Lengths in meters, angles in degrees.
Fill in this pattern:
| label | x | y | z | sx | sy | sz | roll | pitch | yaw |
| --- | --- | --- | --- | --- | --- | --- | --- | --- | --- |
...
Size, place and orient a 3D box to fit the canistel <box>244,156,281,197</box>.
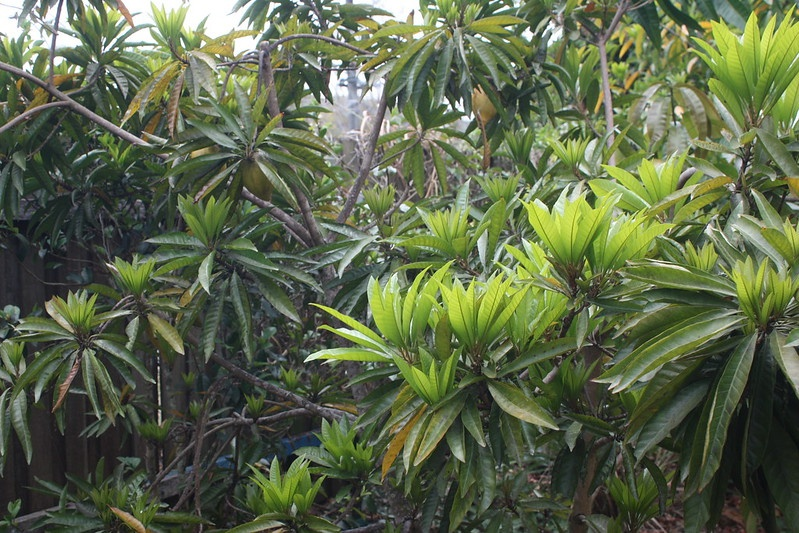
| label | x | y | z | sx | sy | sz | roll | pitch | yaw |
| --- | --- | --- | --- | --- | --- | --- | --- | --- | --- |
| canistel | -0.688 | -0.430 | 6.184 | 0.143 | 0.195 | 0.174 | 11 | 0 | -3 |
